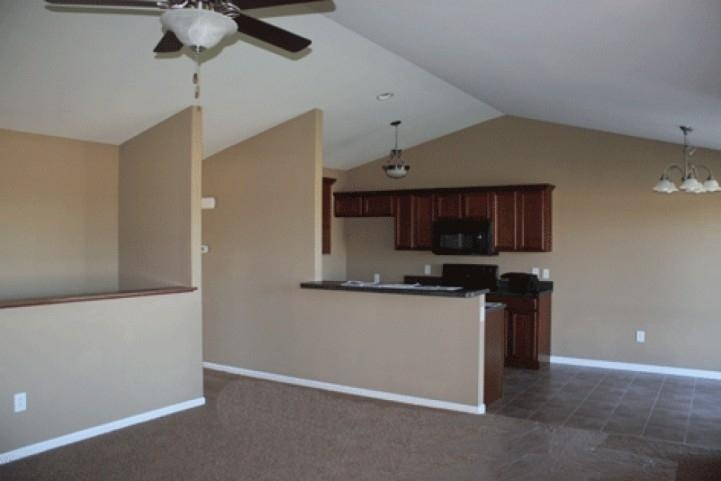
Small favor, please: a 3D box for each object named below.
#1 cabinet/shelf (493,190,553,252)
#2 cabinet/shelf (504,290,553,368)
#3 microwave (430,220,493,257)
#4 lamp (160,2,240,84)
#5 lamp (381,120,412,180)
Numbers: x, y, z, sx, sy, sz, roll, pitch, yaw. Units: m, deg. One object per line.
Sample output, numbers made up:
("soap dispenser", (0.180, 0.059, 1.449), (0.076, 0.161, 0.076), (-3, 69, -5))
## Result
("cabinet/shelf", (2.291, -0.289, 7.997), (0.959, 0.923, 0.410), (0, 1, -3))
("cabinet/shelf", (2.437, 1.244, 7.608), (0.755, 1.062, 0.443), (-4, 9, -27))
("microwave", (1.639, -0.029, 8.325), (0.984, 0.599, 0.559), (1, 2, 36))
("lamp", (-1.158, -1.468, 3.936), (0.401, 0.440, 0.390), (-2, -11, -3))
("lamp", (0.499, -1.325, 7.831), (0.415, 0.729, 0.398), (-1, 9, -2))
